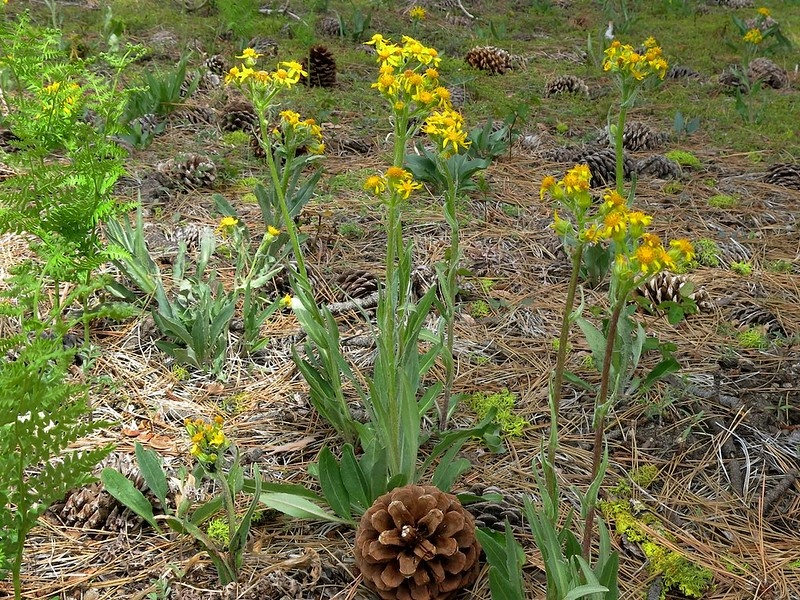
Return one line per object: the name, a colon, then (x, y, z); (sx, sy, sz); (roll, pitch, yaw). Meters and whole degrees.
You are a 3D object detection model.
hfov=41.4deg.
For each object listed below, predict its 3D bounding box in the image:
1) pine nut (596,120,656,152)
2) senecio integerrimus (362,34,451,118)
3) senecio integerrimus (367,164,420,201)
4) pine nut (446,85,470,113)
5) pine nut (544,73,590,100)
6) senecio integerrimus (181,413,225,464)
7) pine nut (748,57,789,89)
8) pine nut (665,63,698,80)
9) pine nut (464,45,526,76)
pine nut: (1.457, -1.047, 6.844); (0.313, 0.195, 0.335); (15, 21, 33)
senecio integerrimus: (0.026, -0.970, 4.662); (0.296, 0.352, 0.428); (-10, 42, -8)
senecio integerrimus: (-0.024, -0.552, 5.076); (0.236, 0.150, 0.286); (-4, 30, -13)
pine nut: (0.425, -1.450, 7.601); (0.174, 0.128, 0.212); (6, 27, 1)
pine nut: (1.228, -1.583, 7.901); (0.203, 0.132, 0.219); (20, 37, 27)
senecio integerrimus: (-0.831, 0.588, 4.567); (0.157, 0.195, 0.210); (-15, 43, -14)
pine nut: (2.873, -1.753, 8.294); (0.316, 0.126, 0.387); (15, 47, 17)
pine nut: (2.215, -1.791, 8.361); (0.146, 0.068, 0.164); (5, -8, 24)
pine nut: (0.732, -1.900, 8.284); (0.363, 0.237, 0.293); (5, 35, -1)
